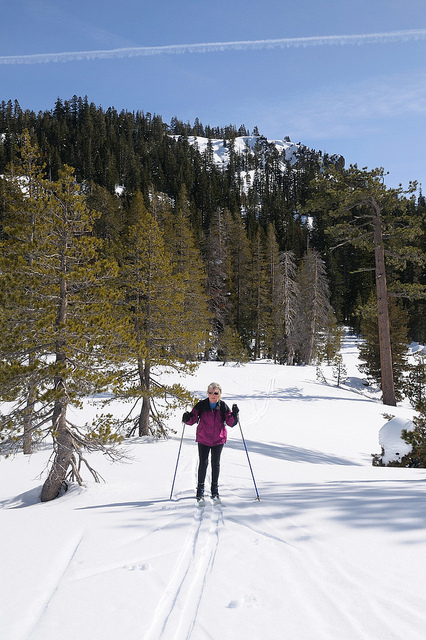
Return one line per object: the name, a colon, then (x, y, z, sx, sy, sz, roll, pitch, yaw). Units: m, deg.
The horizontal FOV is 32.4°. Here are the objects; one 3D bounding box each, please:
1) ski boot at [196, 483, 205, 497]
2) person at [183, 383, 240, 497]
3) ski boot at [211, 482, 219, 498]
ski boot: (-0.165, 2.223, 9.570, 0.106, 0.206, 0.121, 4, -17, -7)
person: (-0.041, 1.603, 9.733, 0.728, 1.490, 0.538, 2, 0, 1)
ski boot: (0.027, 2.243, 9.654, 0.104, 0.190, 0.274, 2, 0, 0)
